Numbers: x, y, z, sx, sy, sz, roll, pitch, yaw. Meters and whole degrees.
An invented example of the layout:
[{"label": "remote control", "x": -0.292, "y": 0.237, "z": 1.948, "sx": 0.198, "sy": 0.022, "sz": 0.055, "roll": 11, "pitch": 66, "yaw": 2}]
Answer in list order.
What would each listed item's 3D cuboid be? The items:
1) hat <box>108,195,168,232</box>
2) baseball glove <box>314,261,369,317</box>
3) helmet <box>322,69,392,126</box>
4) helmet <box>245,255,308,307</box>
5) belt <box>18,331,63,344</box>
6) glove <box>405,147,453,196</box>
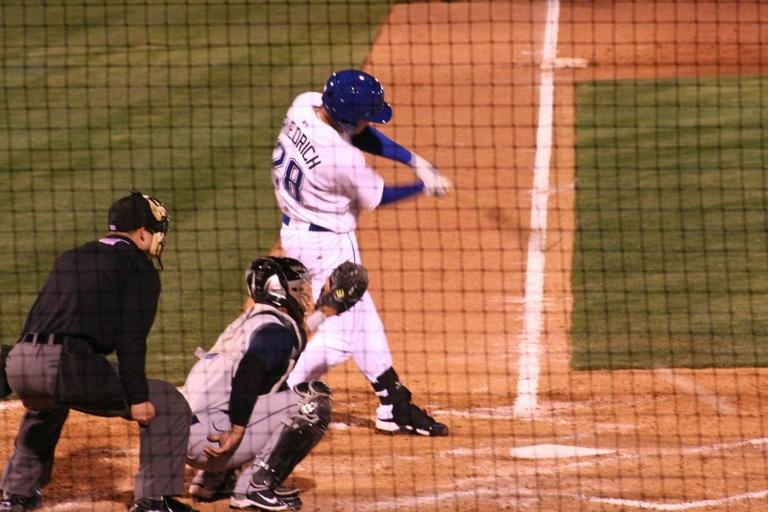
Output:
[{"label": "hat", "x": -1.888, "y": -0.333, "z": 10.711, "sx": 0.414, "sy": 0.224, "sz": 0.277, "roll": -7, "pitch": 13, "yaw": -38}, {"label": "baseball glove", "x": -0.316, "y": 0.264, "z": 11.107, "sx": 0.467, "sy": 0.307, "sz": 0.146, "roll": -34, "pitch": -16, "yaw": 9}, {"label": "helmet", "x": -0.176, "y": -1.258, "z": 11.094, "sx": 0.597, "sy": 0.320, "sz": 0.283, "roll": 7, "pitch": -21, "yaw": -21}, {"label": "helmet", "x": -0.849, "y": 0.168, "z": 10.706, "sx": 0.500, "sy": 0.328, "sz": 0.352, "roll": -9, "pitch": 16, "yaw": -24}, {"label": "belt", "x": -2.572, "y": 0.618, "z": 10.433, "sx": 0.326, "sy": 0.091, "sz": 0.082, "roll": 7, "pitch": 4, "yaw": -5}, {"label": "glove", "x": 0.386, "y": -0.661, "z": 11.300, "sx": 0.273, "sy": 0.356, "sz": 0.421, "roll": -13, "pitch": 28, "yaw": -21}]
